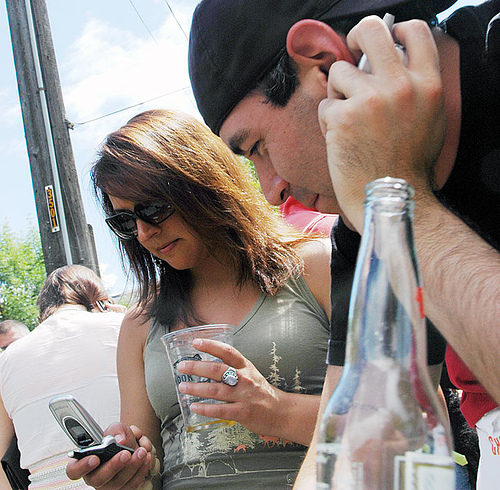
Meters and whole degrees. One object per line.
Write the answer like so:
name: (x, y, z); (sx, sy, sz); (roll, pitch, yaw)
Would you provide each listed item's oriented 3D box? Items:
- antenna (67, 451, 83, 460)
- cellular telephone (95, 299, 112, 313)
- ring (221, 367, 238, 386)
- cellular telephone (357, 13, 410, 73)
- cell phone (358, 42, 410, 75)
antenna: (-0.585, 0.715, 1.750); (0.057, 0.019, 0.038); (-2, 10, -23)
cellular telephone: (-1.221, 0.516, 4.304); (0.034, 0.104, 0.119); (-25, -16, 32)
ring: (-0.060, 0.410, 1.605); (0.047, 0.054, 0.023); (-3, -10, -4)
cellular telephone: (0.275, -0.440, 1.123); (0.112, 0.107, 0.090); (-9, 3, 6)
cell phone: (0.283, -0.404, 1.109); (0.113, 0.056, 0.064); (-9, 3, -8)
